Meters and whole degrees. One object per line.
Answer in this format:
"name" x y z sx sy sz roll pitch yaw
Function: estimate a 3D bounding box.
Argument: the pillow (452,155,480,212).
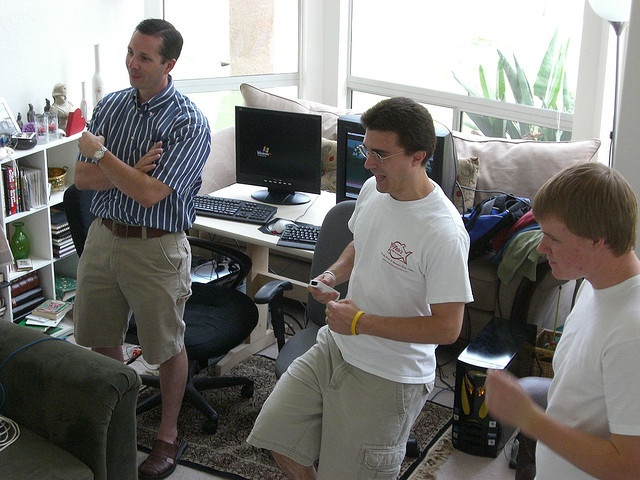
"pillow" 0.990 -0.380 3.478 0.245 0.373 0.106 2 2 -15

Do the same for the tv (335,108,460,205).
"tv" 0.434 -0.468 3.211 0.611 0.536 0.341 11 12 41

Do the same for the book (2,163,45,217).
"book" -1.945 -0.334 3.316 0.166 0.302 0.303 -6 8 2

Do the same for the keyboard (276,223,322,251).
"keyboard" -0.116 -0.018 2.964 0.160 0.032 0.185 6 41 16

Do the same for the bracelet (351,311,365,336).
"bracelet" 0.139 0.294 1.760 0.023 0.070 0.057 8 2 6

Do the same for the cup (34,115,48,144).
"cup" -1.863 -0.753 3.412 0.079 0.185 0.140 -8 17 -28

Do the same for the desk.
"desk" -0.346 0.213 2.912 0.960 0.670 0.505 19 29 31

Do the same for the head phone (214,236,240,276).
"head phone" -0.704 0.108 3.872 0.210 0.325 0.113 6 -8 -13

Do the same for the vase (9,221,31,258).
"vase" -2.059 0.001 3.482 0.120 0.263 0.150 -9 17 -31

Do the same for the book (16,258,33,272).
"book" -1.999 0.172 3.435 0.105 0.065 0.083 -4 16 -17

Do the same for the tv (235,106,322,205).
"tv" -0.282 -0.576 3.468 0.565 0.588 0.220 7 18 18

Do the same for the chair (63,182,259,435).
"chair" -0.751 0.227 3.381 1.242 1.664 1.126 8 21 24
